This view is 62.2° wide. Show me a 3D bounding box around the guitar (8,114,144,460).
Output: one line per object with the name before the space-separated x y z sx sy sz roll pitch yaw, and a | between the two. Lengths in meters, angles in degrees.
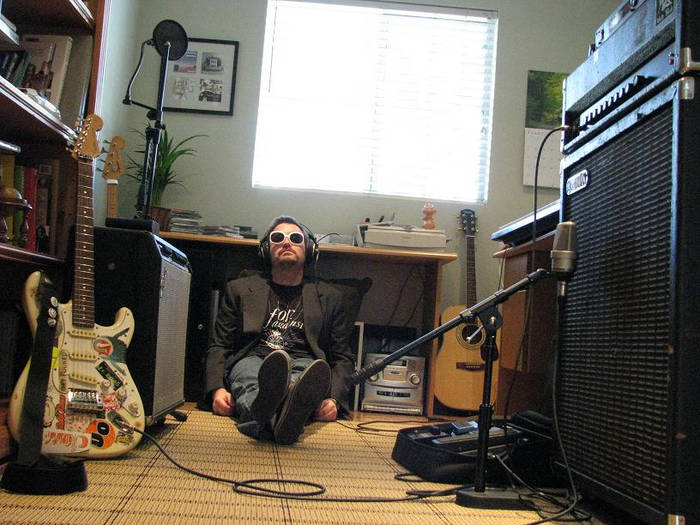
guitar | -0.848 0.055 1.991 0.295 1.205 0.308 4 -1 -28

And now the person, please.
person | -0.340 0.397 2.698 0.585 1.065 1.020 5 -24 -6

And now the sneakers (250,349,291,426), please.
sneakers | -0.292 0.473 2.227 0.109 0.335 0.125 13 13 8

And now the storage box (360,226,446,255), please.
storage box | 0.294 -0.124 3.142 0.428 0.110 0.048 4 -1 5
